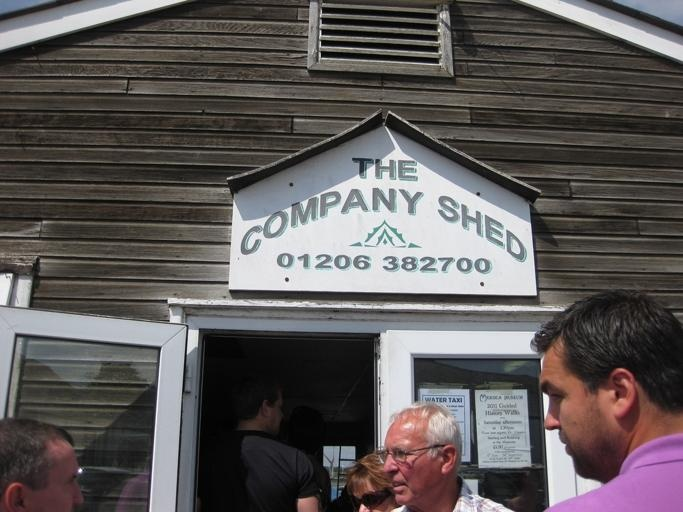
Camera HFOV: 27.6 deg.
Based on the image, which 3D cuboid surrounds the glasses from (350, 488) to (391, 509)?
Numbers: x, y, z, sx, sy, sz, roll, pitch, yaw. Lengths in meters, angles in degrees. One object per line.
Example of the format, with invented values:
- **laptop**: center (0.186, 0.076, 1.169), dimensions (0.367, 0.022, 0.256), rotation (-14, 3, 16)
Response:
- **glasses**: center (0.232, 1.694, 9.682), dimensions (0.222, 0.180, 0.065), rotation (0, 11, 22)

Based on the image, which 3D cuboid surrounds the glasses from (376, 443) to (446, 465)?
- **glasses**: center (0.451, 1.286, 9.142), dimensions (0.276, 0.061, 0.225), rotation (-3, -18, -10)
